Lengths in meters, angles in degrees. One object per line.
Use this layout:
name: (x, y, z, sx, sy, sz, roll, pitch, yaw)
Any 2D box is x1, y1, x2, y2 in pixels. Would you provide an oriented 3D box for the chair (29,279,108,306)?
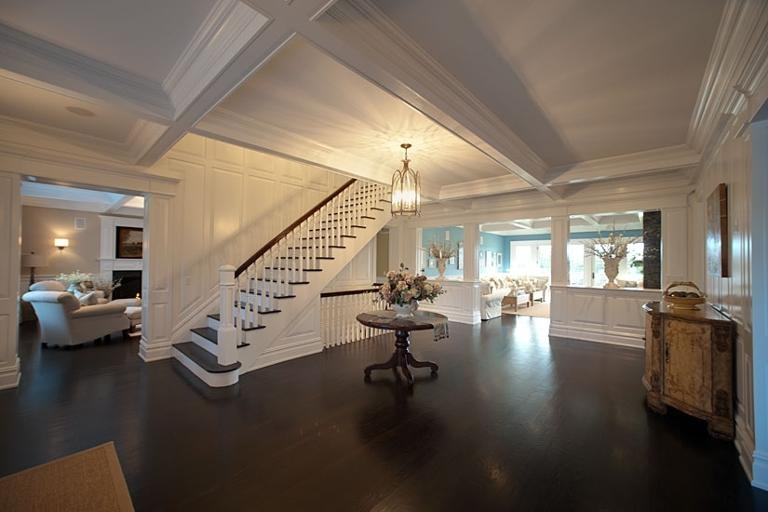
chair: (-6.002, 0.706, 8.291, 0.510, 0.430, 0.547, -3, -2, 10)

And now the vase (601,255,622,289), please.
vase: (4.536, 0.320, 8.745, 0.271, 0.621, 0.756, 1, -1, 27)

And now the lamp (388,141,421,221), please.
lamp: (0.344, -1.194, 6.927, 0.511, 1.105, 0.475, -1, 3, -36)

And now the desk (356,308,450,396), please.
desk: (0.259, 1.392, 6.649, 1.245, 0.849, 1.259, 0, -3, -5)

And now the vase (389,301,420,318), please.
vase: (0.313, 0.801, 6.558, 0.295, 0.205, 0.301, -2, -2, 26)

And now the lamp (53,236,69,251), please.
lamp: (-7.543, -0.285, 10.251, 0.296, 0.350, 0.297, 0, -5, -10)

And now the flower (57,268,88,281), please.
flower: (-7.049, 0.478, 10.008, 0.372, 0.173, 0.385, 0, -4, 33)

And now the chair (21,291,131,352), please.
chair: (-5.442, 0.976, 7.894, 1.058, 1.077, 1.352, 2, 2, 22)

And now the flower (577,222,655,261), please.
flower: (6.197, -0.419, 11.607, 1.135, 0.736, 1.113, -2, -1, -37)

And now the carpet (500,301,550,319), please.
carpet: (3.952, 1.513, 12.148, 1.210, 0.101, 2.379, 2, -1, 23)

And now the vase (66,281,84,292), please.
vase: (-6.595, 0.660, 9.366, 0.158, 0.168, 0.167, -3, -1, 8)

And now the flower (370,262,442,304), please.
flower: (0.416, 0.482, 6.617, 0.635, 0.438, 0.611, -12, -4, 43)
